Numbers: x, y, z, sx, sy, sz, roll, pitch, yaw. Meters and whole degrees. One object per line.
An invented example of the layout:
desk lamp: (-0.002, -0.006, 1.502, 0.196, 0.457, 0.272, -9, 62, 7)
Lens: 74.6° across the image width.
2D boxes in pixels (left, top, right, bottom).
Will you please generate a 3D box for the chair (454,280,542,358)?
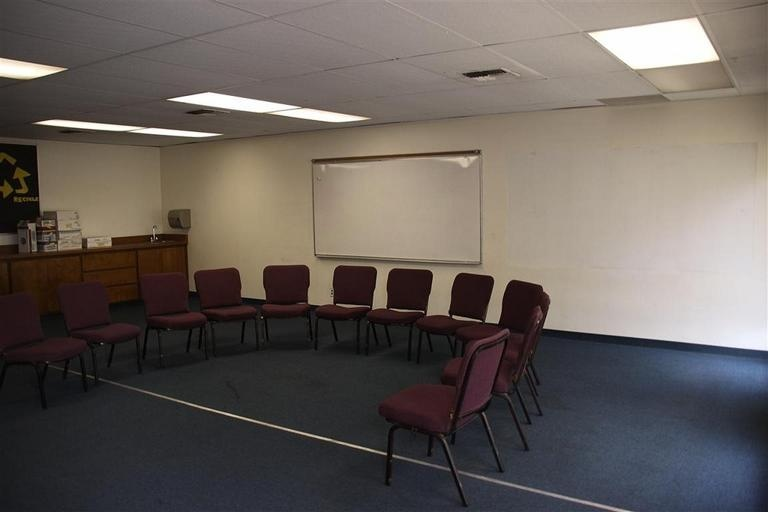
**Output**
chair: (1.197, 0.706, 6.158, 0.970, 1.176, 0.821, 10, -7, -40)
